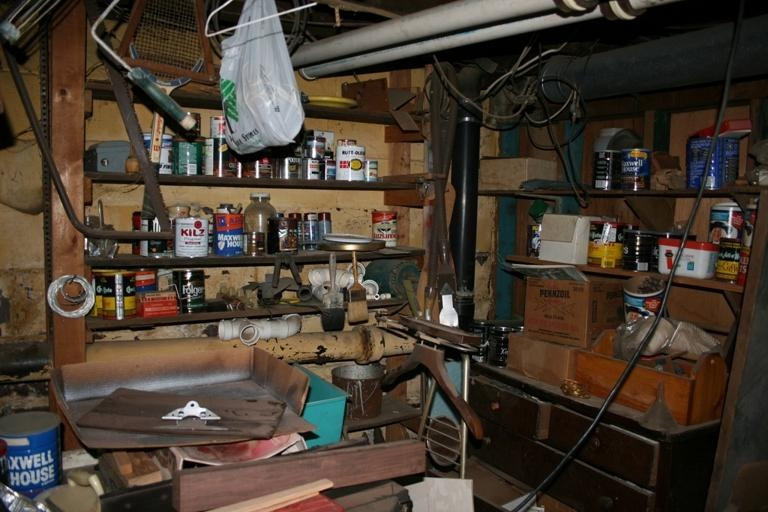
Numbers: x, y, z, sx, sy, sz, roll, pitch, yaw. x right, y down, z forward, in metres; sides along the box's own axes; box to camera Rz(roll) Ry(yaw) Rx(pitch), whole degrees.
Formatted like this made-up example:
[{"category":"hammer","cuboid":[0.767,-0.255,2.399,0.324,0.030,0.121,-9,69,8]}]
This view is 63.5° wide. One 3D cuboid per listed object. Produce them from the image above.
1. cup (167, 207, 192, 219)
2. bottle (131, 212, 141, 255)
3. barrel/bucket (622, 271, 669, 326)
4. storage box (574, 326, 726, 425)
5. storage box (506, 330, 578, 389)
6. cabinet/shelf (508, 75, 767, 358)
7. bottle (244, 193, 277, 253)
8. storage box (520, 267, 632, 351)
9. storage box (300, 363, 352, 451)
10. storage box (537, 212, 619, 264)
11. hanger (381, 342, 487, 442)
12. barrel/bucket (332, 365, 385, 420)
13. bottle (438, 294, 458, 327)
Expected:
[{"category":"cup","cuboid":[-1.139,-0.239,3.395,0.087,0.064,0.082,0,-5,0]},{"category":"bottle","cuboid":[-1.384,-0.131,3.441,0.070,0.231,0.186,-5,6,-21]},{"category":"barrel/bucket","cuboid":[1.527,0.307,3.672,0.266,0.327,0.213,7,34,36]},{"category":"storage box","cuboid":[1.500,0.657,3.528,0.576,0.452,0.793,5,4,-40]},{"category":"storage box","cuboid":[0.962,0.604,3.752,0.392,0.225,0.216,11,10,37]},{"category":"cabinet/shelf","cuboid":[1.542,-0.226,3.659,0.634,1.645,1.930,6,-6,-41]},{"category":"bottle","cuboid":[-0.722,-0.196,3.586,0.191,0.350,0.217,-4,6,-9]},{"category":"storage box","cuboid":[1.167,0.320,3.828,0.490,0.355,0.484,3,2,39]},{"category":"storage box","cuboid":[-0.311,0.786,3.226,0.228,0.422,0.404,-3,6,-5]},{"category":"storage box","cuboid":[1.307,-0.089,4.028,0.537,0.288,0.503,4,2,2]},{"category":"hanger","cuboid":[0.293,0.773,3.519,0.065,0.327,0.870,6,4,-25]},{"category":"barrel/bucket","cuboid":[-0.138,0.828,3.749,0.336,0.251,0.360,-1,0,0]},{"category":"bottle","cuboid":[0.340,0.288,3.284,0.100,0.164,0.042,-4,-9,-2]}]
